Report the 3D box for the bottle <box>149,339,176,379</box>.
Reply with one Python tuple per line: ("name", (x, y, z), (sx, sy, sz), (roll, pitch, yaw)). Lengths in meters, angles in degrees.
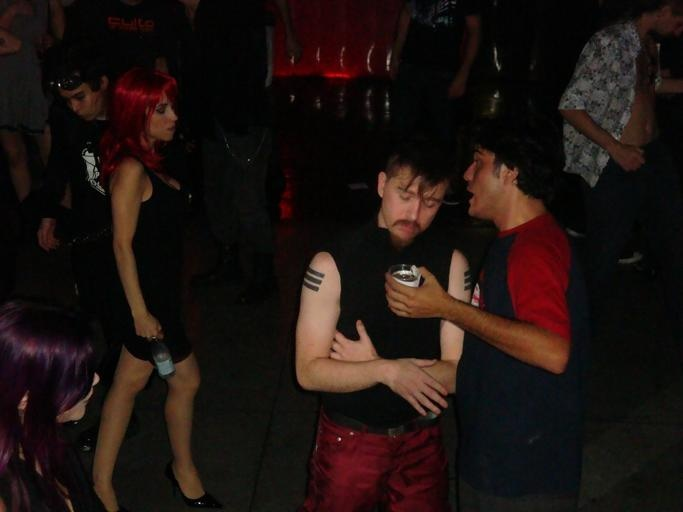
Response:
("bottle", (-1.094, 0.634, 3.631), (0.125, 0.256, 0.141), (-14, 32, -25))
